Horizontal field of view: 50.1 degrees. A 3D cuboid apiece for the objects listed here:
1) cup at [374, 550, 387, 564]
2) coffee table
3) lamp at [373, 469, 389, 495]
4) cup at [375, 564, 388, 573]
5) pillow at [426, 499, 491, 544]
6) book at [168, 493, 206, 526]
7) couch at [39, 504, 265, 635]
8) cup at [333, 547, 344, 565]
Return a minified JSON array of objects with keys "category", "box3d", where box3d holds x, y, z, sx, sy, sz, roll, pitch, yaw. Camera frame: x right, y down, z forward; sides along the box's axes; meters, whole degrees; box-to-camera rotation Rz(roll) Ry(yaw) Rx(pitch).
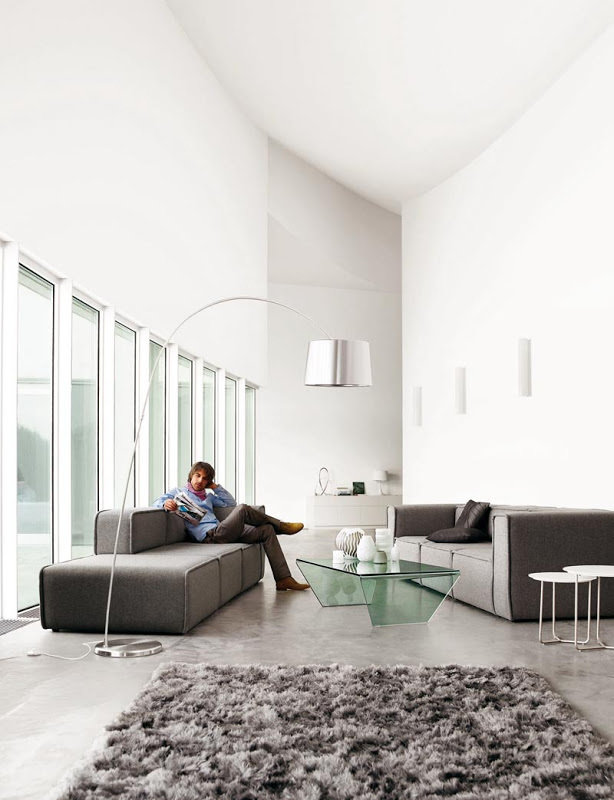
[{"category":"cup","box3d":[0.493,1.060,4.394,0.067,0.058,0.068,2,-7,0]},{"category":"coffee table","box3d":[0.425,1.238,4.260,0.613,0.345,1.131,4,-11,-22]},{"category":"lamp","box3d":[1.463,1.653,12.943,0.338,0.647,0.381,1,-10,-8]},{"category":"cup","box3d":[0.458,1.047,4.045,0.068,0.062,0.075,5,-10,-17]},{"category":"pillow","box3d":[1.379,1.053,5.721,0.345,0.125,0.378,-24,-3,27]},{"category":"book","box3d":[-1.022,0.958,5.592,0.317,0.234,0.205,37,-24,-13]},{"category":"couch","box3d":[-1.007,1.079,4.361,0.889,0.697,1.557,-1,-10,5]},{"category":"cup","box3d":[0.218,1.094,4.529,0.070,0.095,0.081,0,-7,-4]}]
